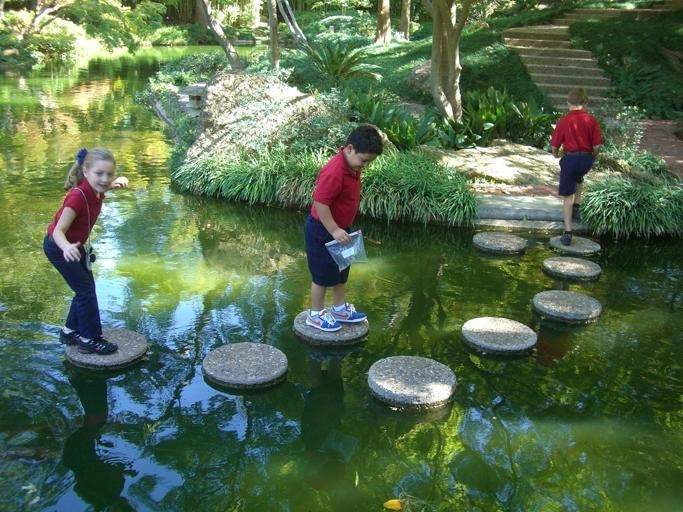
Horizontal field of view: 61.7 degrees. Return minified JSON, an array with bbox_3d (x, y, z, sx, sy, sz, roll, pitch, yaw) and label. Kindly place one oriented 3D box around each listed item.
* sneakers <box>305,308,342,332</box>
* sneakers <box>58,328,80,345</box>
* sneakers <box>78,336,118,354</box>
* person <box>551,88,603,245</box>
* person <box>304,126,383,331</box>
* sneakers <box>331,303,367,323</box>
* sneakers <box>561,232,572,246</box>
[{"bbox_3d":[-0.168,0.533,4.827,0.324,0.139,0.135,13,23,20],"label":"sneakers"},{"bbox_3d":[-2.116,0.638,4.492,0.190,0.124,0.087,0,21,-20],"label":"sneakers"},{"bbox_3d":[-1.848,0.697,4.387,0.294,0.124,0.123,1,15,-8],"label":"sneakers"},{"bbox_3d":[2.644,-1.000,6.527,0.459,1.725,0.433,-7,18,-7],"label":"person"},{"bbox_3d":[-0.016,-0.160,4.527,0.757,1.692,0.509,-2,18,9],"label":"person"},{"bbox_3d":[0.034,0.498,4.923,0.345,0.156,0.130,2,18,-12],"label":"sneakers"},{"bbox_3d":[2.607,-0.191,6.613,0.083,0.079,0.192,3,17,17],"label":"sneakers"}]
